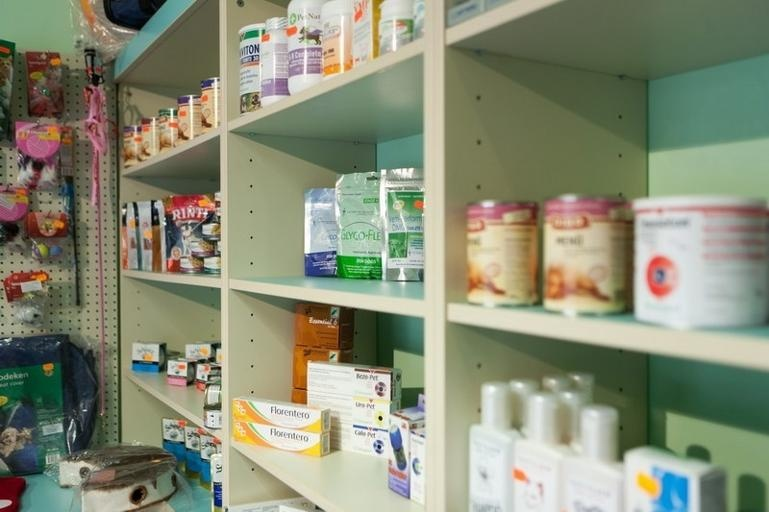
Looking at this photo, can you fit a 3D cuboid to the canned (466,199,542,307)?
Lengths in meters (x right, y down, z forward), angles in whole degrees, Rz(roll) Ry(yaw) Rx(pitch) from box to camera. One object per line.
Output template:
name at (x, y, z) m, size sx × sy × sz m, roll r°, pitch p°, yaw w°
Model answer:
canned at (0.240, -0.007, 1.212) m, size 0.199 × 0.212 × 0.178 m, roll 0°, pitch 1°, yaw -8°
